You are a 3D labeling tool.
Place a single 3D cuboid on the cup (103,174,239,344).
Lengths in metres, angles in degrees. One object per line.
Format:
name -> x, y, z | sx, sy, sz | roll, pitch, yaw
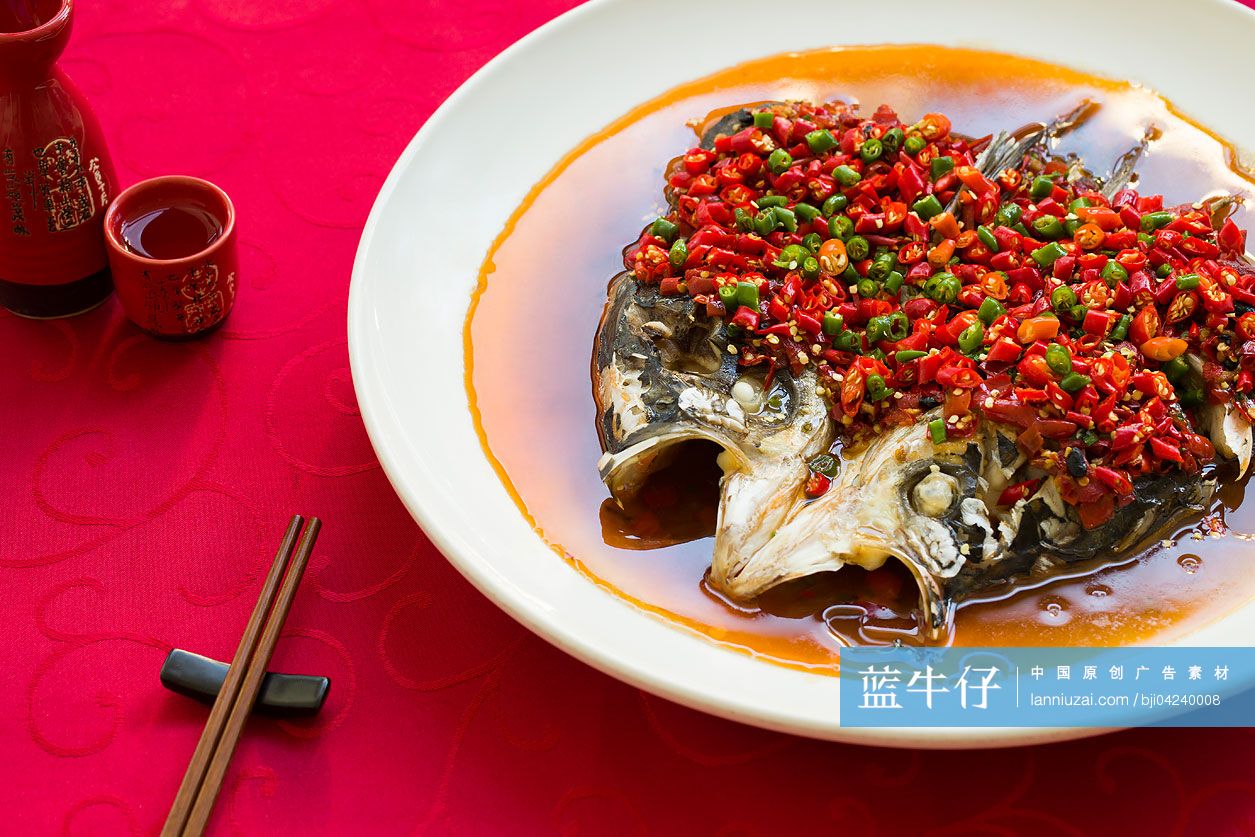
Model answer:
cup -> -1.186, -0.418, 3.433 | 0.374, 0.304, 0.397 | 3, 56, -5
